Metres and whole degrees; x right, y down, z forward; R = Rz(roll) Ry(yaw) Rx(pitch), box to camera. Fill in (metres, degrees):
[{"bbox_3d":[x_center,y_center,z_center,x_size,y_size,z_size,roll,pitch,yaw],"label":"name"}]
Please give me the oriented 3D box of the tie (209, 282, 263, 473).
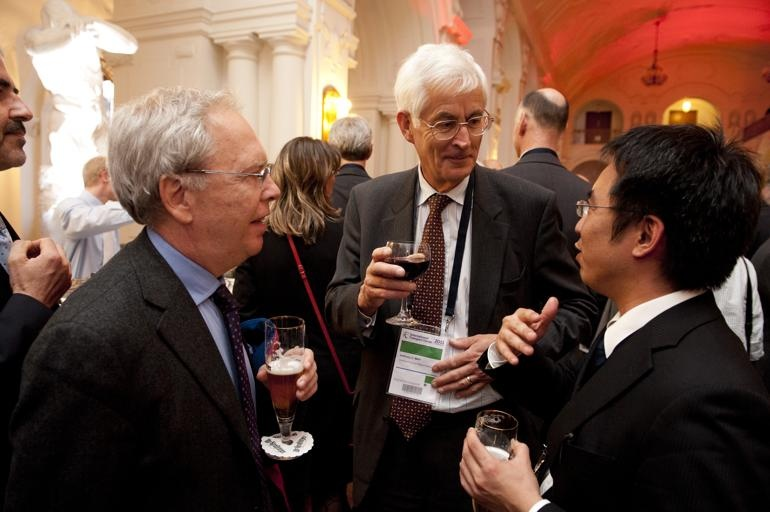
[{"bbox_3d":[-0.619,0.361,2.368,0.124,0.167,1.107,26,25,-35],"label":"tie"}]
